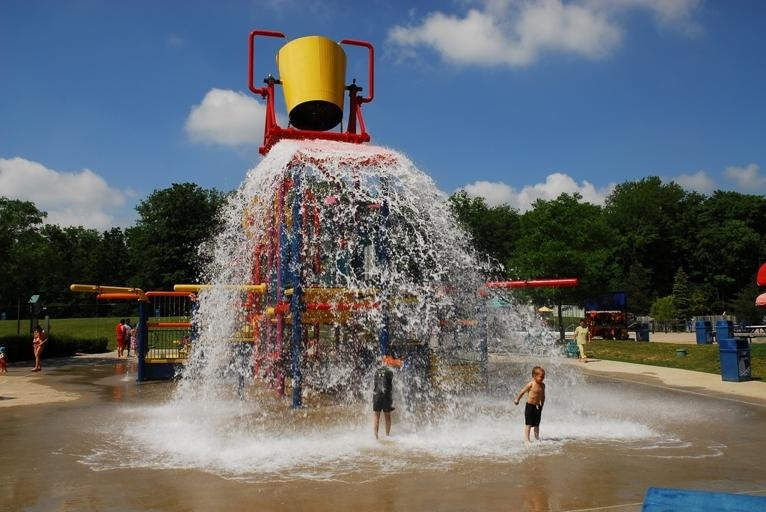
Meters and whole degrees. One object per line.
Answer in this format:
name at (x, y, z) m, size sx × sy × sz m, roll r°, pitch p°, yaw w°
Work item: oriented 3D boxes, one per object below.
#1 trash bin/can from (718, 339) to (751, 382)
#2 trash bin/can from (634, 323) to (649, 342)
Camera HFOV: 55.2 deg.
trash bin/can at (12.713, 3.740, 26.418) m, size 1.022 × 1.549 × 0.626 m, roll 3°, pitch -10°, yaw -16°
trash bin/can at (15.603, 4.544, 44.167) m, size 0.664 × 1.134 × 1.409 m, roll -2°, pitch -11°, yaw 15°
